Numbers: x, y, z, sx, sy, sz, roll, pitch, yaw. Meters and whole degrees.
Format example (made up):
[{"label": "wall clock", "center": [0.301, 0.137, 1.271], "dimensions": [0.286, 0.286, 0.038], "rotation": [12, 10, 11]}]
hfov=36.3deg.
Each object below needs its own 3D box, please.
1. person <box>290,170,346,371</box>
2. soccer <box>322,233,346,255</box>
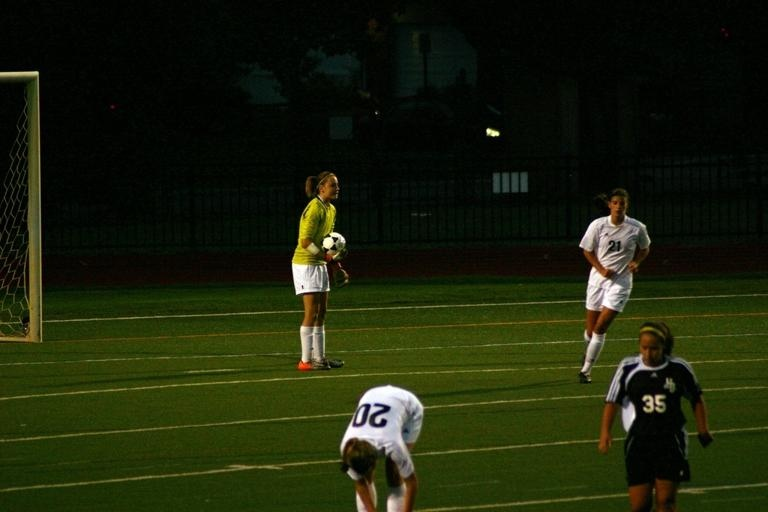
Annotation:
[{"label": "person", "center": [-1.154, 0.257, 19.432], "dimensions": [0.708, 3.254, 0.744], "rotation": [1, -4, -5]}, {"label": "soccer", "center": [-0.835, -0.219, 19.607], "dimensions": [0.369, 0.334, 0.352], "rotation": [-6, -11, -7]}]
